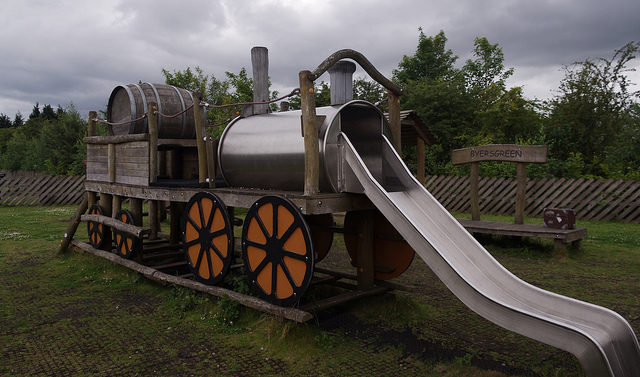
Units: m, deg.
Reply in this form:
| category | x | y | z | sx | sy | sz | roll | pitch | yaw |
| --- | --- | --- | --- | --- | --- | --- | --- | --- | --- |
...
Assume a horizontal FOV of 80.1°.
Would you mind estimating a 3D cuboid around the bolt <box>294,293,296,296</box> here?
| category | x | y | z | sx | sy | sz | roll | pitch | yaw |
| --- | --- | --- | --- | --- | --- | --- | --- | --- | --- |
| bolt | -0.375 | 1.610 | 5.865 | 0.032 | 0.042 | 0.017 | 8 | 17 | 27 |

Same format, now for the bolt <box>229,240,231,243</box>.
| category | x | y | z | sx | sy | sz | roll | pitch | yaw |
| --- | --- | --- | --- | --- | --- | --- | --- | --- | --- |
| bolt | -1.532 | 0.878 | 6.499 | 0.024 | 0.023 | 0.042 | 4 | 1 | -5 |

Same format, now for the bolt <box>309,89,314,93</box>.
| category | x | y | z | sx | sy | sz | roll | pitch | yaw |
| --- | --- | --- | --- | --- | --- | --- | --- | --- | --- |
| bolt | -0.116 | -1.567 | 6.018 | 0.065 | 0.062 | 0.021 | 2 | -3 | -32 |

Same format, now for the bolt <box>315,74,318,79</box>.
| category | x | y | z | sx | sy | sz | roll | pitch | yaw |
| --- | --- | --- | --- | --- | --- | --- | --- | --- | --- |
| bolt | -0.050 | -1.816 | 6.050 | 0.044 | 0.048 | 0.011 | -9 | 18 | -31 |

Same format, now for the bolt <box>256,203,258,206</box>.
| category | x | y | z | sx | sy | sz | roll | pitch | yaw |
| --- | --- | --- | --- | --- | --- | --- | --- | --- | --- |
| bolt | -1.026 | 0.237 | 6.256 | 0.030 | 0.042 | 0.012 | 6 | 16 | 22 |

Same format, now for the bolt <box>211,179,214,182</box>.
| category | x | y | z | sx | sy | sz | roll | pitch | yaw |
| --- | --- | --- | --- | --- | --- | --- | --- | --- | --- |
| bolt | -2.005 | -0.178 | 7.162 | 0.025 | 0.053 | 0.062 | 7 | 16 | 24 |

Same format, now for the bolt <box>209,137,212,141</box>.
| category | x | y | z | sx | sy | sz | roll | pitch | yaw |
| --- | --- | --- | --- | --- | --- | --- | --- | --- | --- |
| bolt | -2.028 | -0.948 | 7.092 | 0.033 | 0.039 | 0.076 | -24 | 14 | -37 |

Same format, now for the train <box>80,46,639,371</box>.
| category | x | y | z | sx | sy | sz | roll | pitch | yaw |
| --- | --- | --- | --- | --- | --- | --- | --- | --- | --- |
| train | -0.803 | -0.392 | 9.524 | 13.207 | 5.953 | 4.511 | 1 | 2 | 36 |

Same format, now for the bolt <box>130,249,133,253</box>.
| category | x | y | z | sx | sy | sz | roll | pitch | yaw |
| --- | --- | --- | --- | --- | --- | --- | --- | --- | --- |
| bolt | -4.016 | 1.297 | 8.118 | 0.026 | 0.042 | 0.085 | 3 | -9 | -43 |

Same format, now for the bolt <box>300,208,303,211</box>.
| category | x | y | z | sx | sy | sz | roll | pitch | yaw |
| --- | --- | --- | --- | --- | --- | --- | --- | --- | --- |
| bolt | -0.281 | 0.300 | 5.896 | 0.021 | 0.057 | 0.054 | -10 | -40 | 24 |

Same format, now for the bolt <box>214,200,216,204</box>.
| category | x | y | z | sx | sy | sz | roll | pitch | yaw |
| --- | --- | --- | --- | --- | --- | --- | --- | --- | --- |
| bolt | -1.831 | 0.200 | 6.681 | 0.035 | 0.046 | 0.007 | 7 | 17 | 26 |

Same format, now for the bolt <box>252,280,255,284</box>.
| category | x | y | z | sx | sy | sz | roll | pitch | yaw |
| --- | --- | --- | --- | --- | --- | --- | --- | --- | --- |
| bolt | -1.098 | 1.534 | 6.350 | 0.061 | 0.057 | 0.014 | -8 | -6 | -19 |

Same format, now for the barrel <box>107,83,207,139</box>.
| category | x | y | z | sx | sy | sz | roll | pitch | yaw |
| --- | --- | --- | --- | --- | --- | --- | --- | --- | --- |
| barrel | -3.902 | -1.801 | 8.805 | 1.925 | 1.288 | 1.296 | -3 | 15 | -13 |
